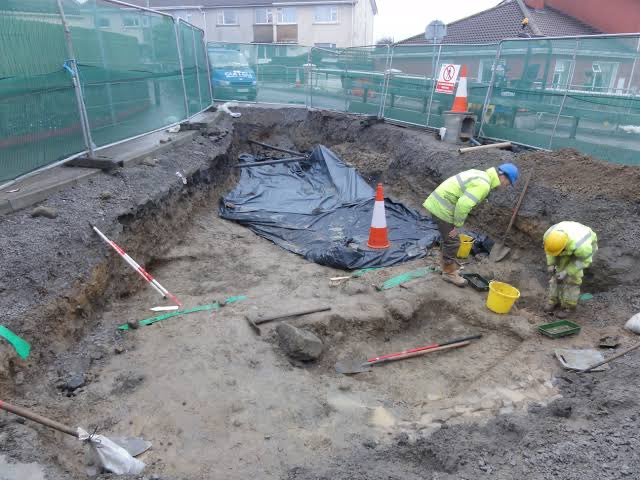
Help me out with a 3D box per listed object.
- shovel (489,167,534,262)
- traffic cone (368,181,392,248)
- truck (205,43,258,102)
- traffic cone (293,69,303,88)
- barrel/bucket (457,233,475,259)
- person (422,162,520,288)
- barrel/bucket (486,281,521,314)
[{"bbox_3d":[3.115,-0.466,7.229,0.164,0.437,1.783,17,54,24],"label":"shovel"},{"bbox_3d":[1.015,-0.429,7.683,0.374,1.102,0.621,5,30,5],"label":"traffic cone"},{"bbox_3d":[-2.604,-4.846,13.492,1.258,1.551,0.649,-20,37,-35],"label":"truck"},{"bbox_3d":[-0.674,-4.917,13.968,0.274,0.563,0.211,5,37,7],"label":"traffic cone"},{"bbox_3d":[2.317,0.086,7.663,0.518,0.267,0.415,-1,20,-4],"label":"barrel/bucket"},{"bbox_3d":[2.119,-0.238,6.741,0.977,1.758,0.824,-5,31,-12],"label":"person"},{"bbox_3d":[2.391,0.764,6.305,0.438,0.255,0.408,9,25,-4],"label":"barrel/bucket"}]
